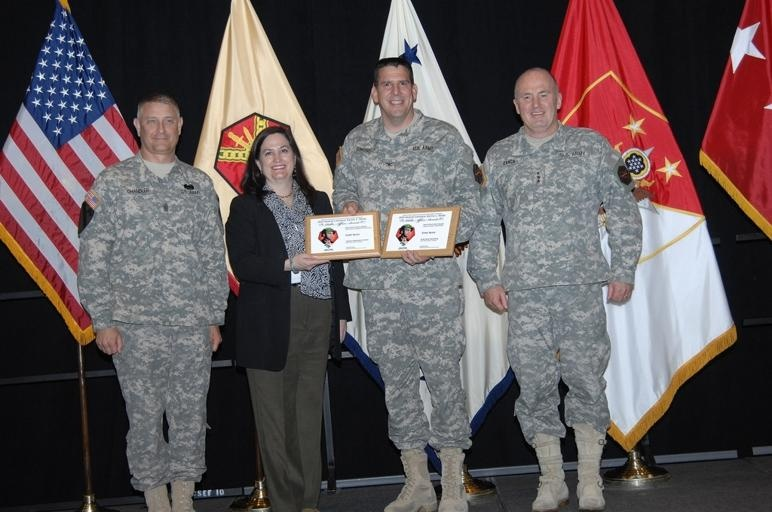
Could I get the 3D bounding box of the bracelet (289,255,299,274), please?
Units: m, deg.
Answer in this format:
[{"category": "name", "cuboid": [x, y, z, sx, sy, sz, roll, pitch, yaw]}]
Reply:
[{"category": "bracelet", "cuboid": [-0.582, 0.066, 4.444, 0.033, 0.092, 0.068, 5, 6, 21]}]
